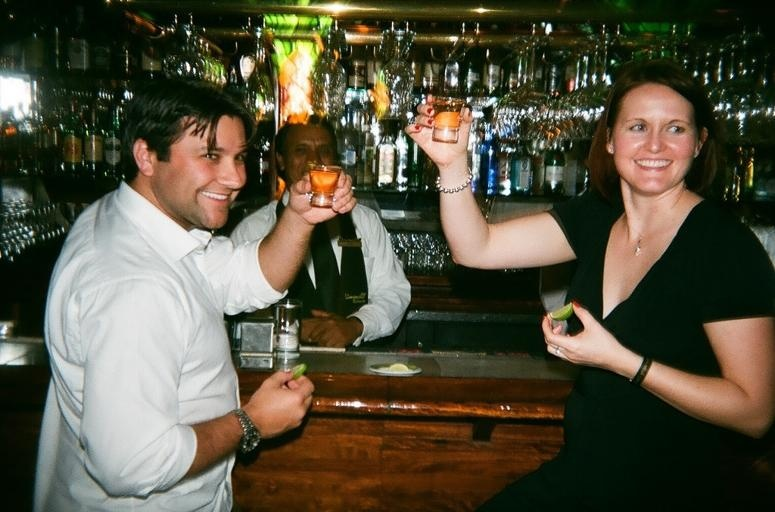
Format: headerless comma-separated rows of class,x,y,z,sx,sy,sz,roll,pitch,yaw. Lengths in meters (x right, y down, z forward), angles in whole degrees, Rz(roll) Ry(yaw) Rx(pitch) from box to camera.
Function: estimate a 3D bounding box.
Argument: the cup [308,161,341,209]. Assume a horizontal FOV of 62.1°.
cup,-0.269,-0.307,2.885,0.196,0.189,0.174,3,-13,3
